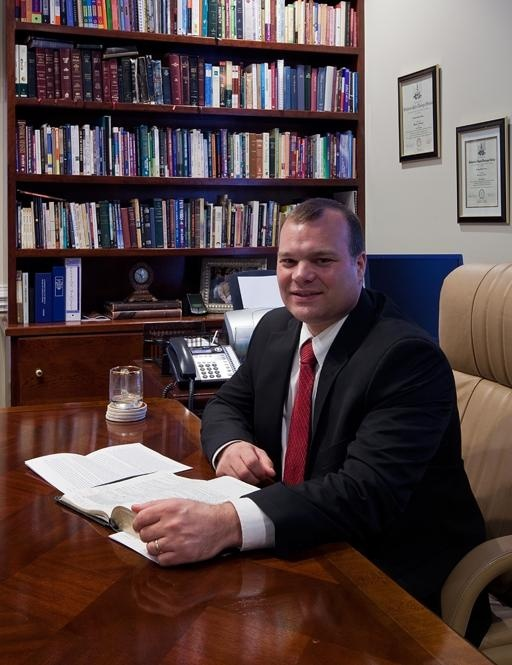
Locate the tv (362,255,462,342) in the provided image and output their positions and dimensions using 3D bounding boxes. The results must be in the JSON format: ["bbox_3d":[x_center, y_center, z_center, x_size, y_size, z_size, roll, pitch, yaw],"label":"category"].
[{"bbox_3d":[0.567,-0.131,1.810,0.377,0.376,0.038,8,13,25],"label":"tv"}]

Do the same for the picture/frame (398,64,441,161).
[{"bbox_3d":[1.048,-1.393,3.325,0.067,0.585,0.347,-1,5,-25],"label":"picture/frame"}]

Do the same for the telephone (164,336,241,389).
[{"bbox_3d":[-0.211,0.103,2.026,0.248,0.131,0.332,-3,17,-20],"label":"telephone"}]

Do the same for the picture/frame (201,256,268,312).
[{"bbox_3d":[-0.162,-0.280,3.035,0.475,0.458,0.034,0,-13,-2],"label":"picture/frame"}]

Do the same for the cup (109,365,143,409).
[{"bbox_3d":[-0.363,0.163,1.454,0.085,0.113,0.114,0,-2,-6],"label":"cup"}]
